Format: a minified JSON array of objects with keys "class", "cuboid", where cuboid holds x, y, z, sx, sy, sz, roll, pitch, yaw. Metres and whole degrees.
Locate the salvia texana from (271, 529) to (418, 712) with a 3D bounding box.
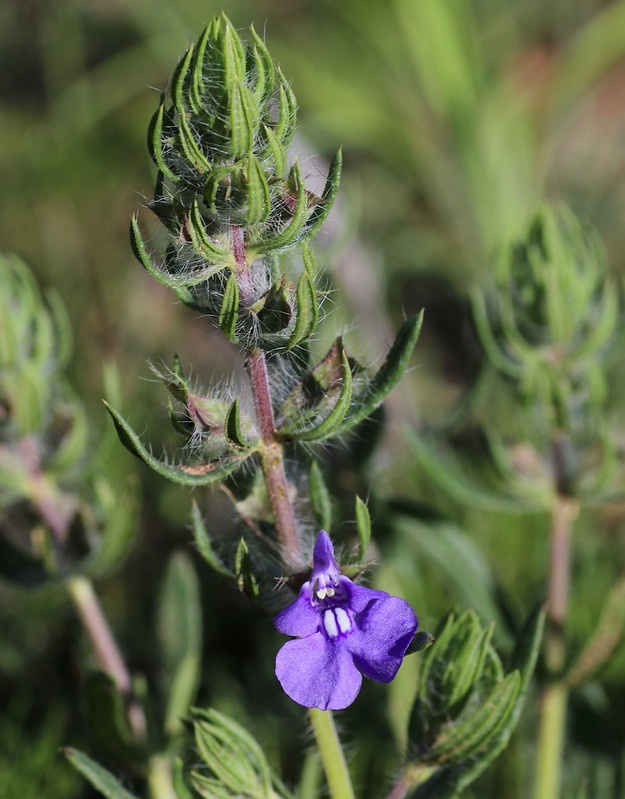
[{"class":"salvia texana","cuboid":[0.028,0.169,0.660,0.103,0.105,0.109,0,21,15]}]
